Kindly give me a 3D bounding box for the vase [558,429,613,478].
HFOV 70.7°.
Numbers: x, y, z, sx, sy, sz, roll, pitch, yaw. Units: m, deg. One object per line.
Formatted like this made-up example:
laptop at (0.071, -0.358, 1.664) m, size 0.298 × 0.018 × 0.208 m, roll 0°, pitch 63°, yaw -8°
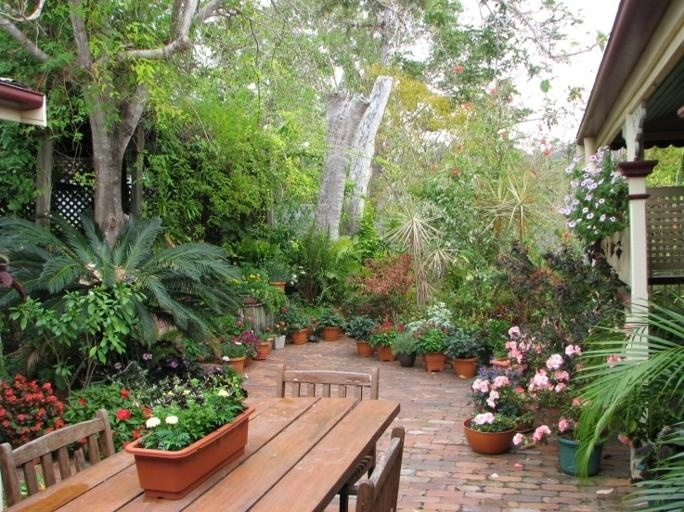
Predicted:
vase at (1.960, 1.648, 3.952) m, size 0.336 × 0.360 × 0.594 m, roll 1°, pitch 4°, yaw 27°
